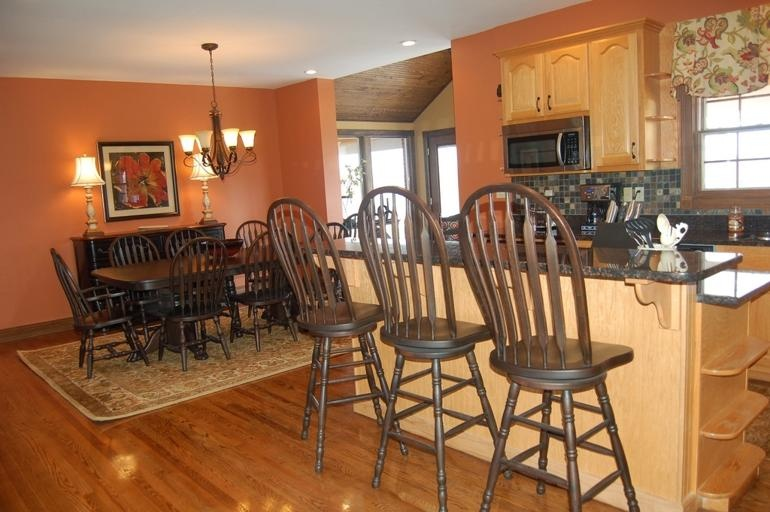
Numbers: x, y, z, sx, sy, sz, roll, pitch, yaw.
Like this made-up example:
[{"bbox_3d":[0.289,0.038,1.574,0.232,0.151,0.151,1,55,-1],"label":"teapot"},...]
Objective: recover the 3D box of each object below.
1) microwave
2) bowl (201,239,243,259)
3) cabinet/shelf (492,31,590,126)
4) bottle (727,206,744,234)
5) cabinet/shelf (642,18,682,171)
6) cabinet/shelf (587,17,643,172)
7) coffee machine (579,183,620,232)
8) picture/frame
[{"bbox_3d":[1.575,-1.037,5.133,0.828,0.461,0.423,6,16,45],"label":"microwave"},{"bbox_3d":[-1.884,-0.111,6.175,0.445,0.154,0.420,1,7,0],"label":"bowl"},{"bbox_3d":[1.418,-1.618,5.036,0.992,0.683,0.349,-15,23,-17],"label":"cabinet/shelf"},{"bbox_3d":[2.941,-0.311,4.450,0.116,0.207,0.309,5,16,33],"label":"bottle"},{"bbox_3d":[2.344,-1.362,4.572,0.463,1.219,0.242,-13,17,-30],"label":"cabinet/shelf"},{"bbox_3d":[2.019,-1.335,4.613,0.118,1.074,0.429,-16,19,-22],"label":"cabinet/shelf"},{"bbox_3d":[1.995,-0.445,5.006,0.333,0.426,0.226,2,-4,21],"label":"coffee machine"},{"bbox_3d":[-3.263,-0.985,6.885,1.118,1.073,0.104,-8,7,-37],"label":"picture/frame"}]
